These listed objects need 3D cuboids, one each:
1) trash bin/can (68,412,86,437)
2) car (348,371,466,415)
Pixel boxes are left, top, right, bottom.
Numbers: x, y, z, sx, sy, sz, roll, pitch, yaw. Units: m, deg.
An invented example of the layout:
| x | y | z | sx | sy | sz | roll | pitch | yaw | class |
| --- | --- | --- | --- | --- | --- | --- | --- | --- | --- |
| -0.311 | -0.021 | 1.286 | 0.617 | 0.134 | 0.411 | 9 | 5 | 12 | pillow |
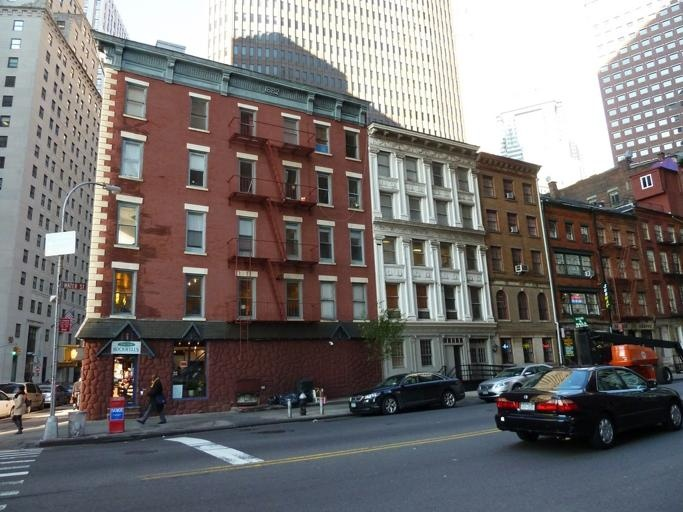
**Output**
| x | y | z | sx | sy | sz | roll | pitch | yaw | class |
| --- | --- | --- | --- | --- | --- | --- | --- | --- | --- |
| -9.966 | 6.327 | 20.987 | 0.918 | 0.943 | 0.671 | 1 | -22 | -19 | trash bin/can |
| 3.147 | 6.466 | 26.226 | 5.142 | 1.284 | 2.004 | 7 | -19 | -27 | car |
